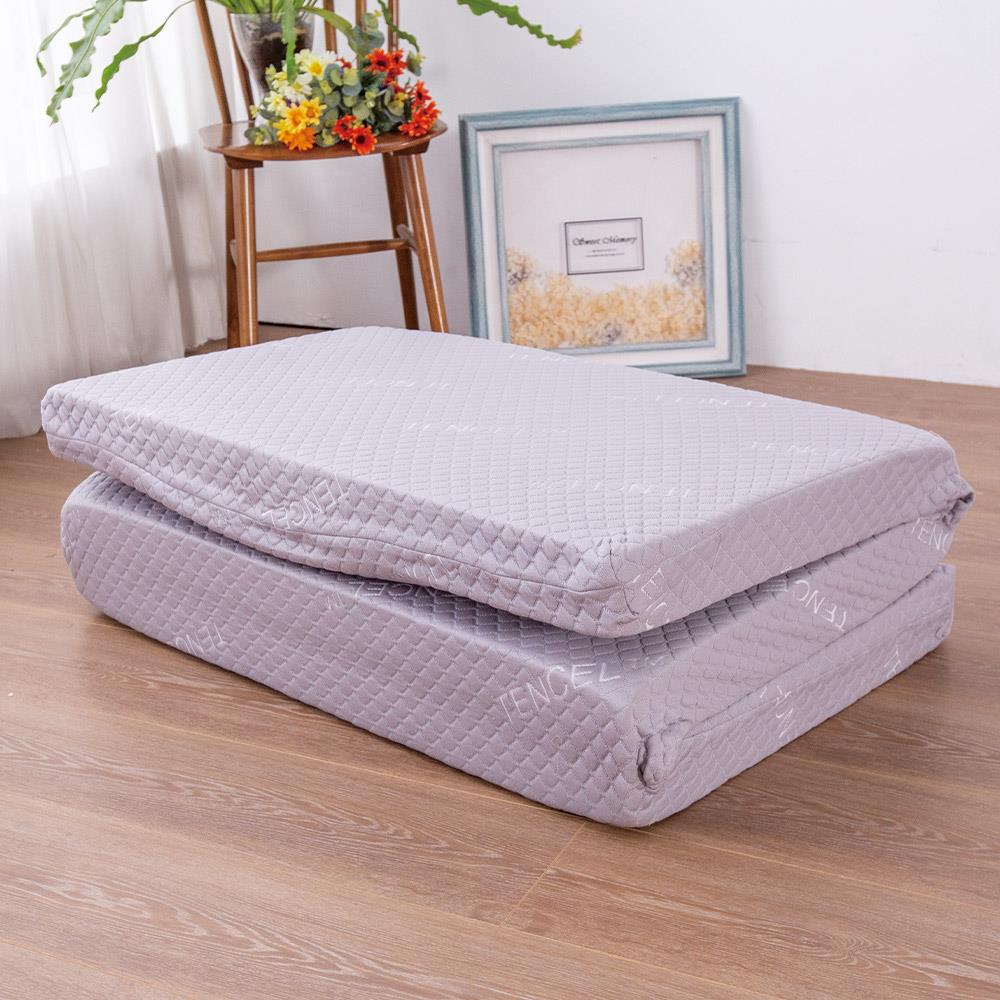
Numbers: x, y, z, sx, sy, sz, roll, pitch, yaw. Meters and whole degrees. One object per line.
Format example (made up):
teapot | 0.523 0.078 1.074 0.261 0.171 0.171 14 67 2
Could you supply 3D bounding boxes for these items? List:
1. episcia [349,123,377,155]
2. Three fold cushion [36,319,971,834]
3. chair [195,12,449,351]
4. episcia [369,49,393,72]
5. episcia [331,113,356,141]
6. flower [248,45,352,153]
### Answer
episcia | -0.250 -0.657 2.051 0.048 0.053 0.084 -4 16 -3
Three fold cushion | -0.011 0.023 1.356 0.856 0.401 0.536 11 22 39
chair | -0.343 -0.516 2.303 0.574 0.815 0.480 -2 21 -1
episcia | -0.226 -0.810 2.078 0.038 0.043 0.061 -8 17 -14
episcia | -0.280 -0.669 2.026 0.055 0.044 0.020 20 14 12
flower | -0.360 -0.736 2.084 0.190 0.195 0.161 -18 33 -29
